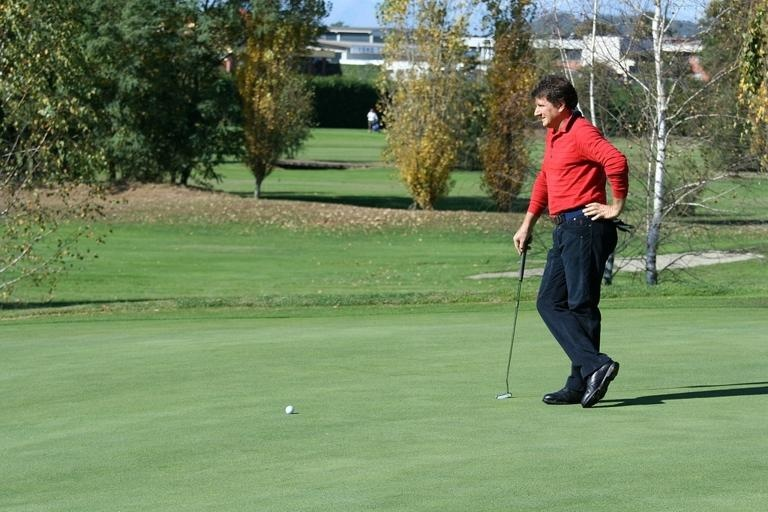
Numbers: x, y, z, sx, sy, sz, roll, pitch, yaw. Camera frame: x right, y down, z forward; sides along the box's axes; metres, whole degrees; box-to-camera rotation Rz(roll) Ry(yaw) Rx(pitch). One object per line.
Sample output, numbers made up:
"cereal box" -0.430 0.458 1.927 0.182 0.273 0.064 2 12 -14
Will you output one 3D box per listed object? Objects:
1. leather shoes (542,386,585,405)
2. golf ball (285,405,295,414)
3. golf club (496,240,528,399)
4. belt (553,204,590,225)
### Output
"leather shoes" 2.365 1.848 16.880 0.528 0.228 0.225 2 0 -6
"golf ball" -1.229 1.983 16.443 0.089 0.034 0.096 -5 7 1
"golf club" 1.846 1.267 18.471 0.243 1.720 0.387 8 2 -11
"belt" 2.458 -0.538 17.005 0.293 0.109 0.257 -18 -5 20
